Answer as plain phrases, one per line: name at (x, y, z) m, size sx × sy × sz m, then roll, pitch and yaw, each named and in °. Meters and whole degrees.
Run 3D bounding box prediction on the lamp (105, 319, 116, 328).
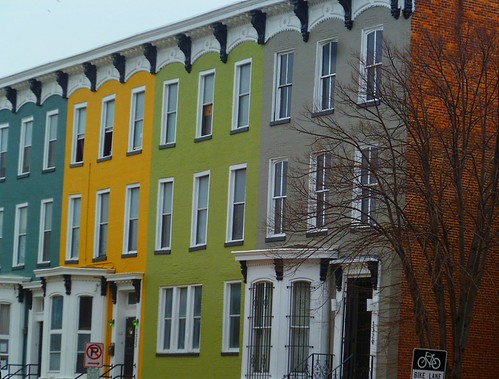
lamp at (-5.139, 4.917, 44.317) m, size 0.289 × 0.449 × 0.301 m, roll -11°, pitch -18°, yaw 41°
